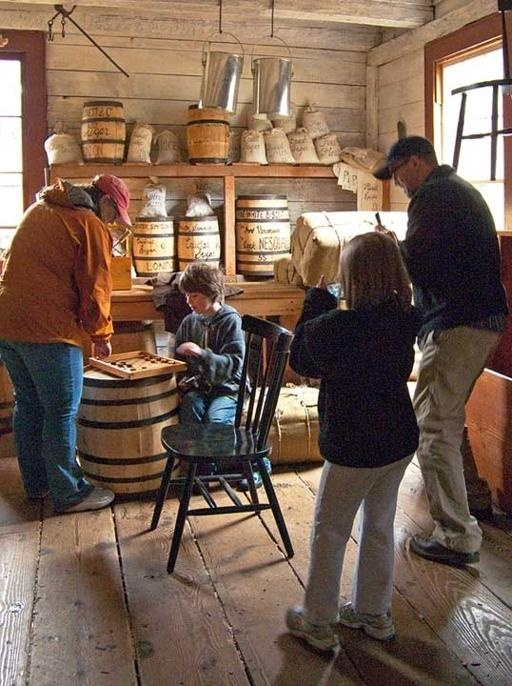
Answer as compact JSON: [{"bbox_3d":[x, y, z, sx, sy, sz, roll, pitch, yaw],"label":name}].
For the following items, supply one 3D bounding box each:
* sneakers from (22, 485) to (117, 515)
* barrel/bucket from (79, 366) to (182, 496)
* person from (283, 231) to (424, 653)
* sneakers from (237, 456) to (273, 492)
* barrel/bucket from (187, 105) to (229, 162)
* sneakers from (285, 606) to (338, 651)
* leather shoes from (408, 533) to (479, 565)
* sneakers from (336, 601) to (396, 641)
[{"bbox_3d":[-0.765,0.639,2.388,0.376,0.140,0.131,-1,1,-10],"label":"sneakers"},{"bbox_3d":[-0.522,0.346,2.489,0.489,0.473,0.491,0,7,0],"label":"barrel/bucket"},{"bbox_3d":[0.232,0.253,1.402,0.320,1.030,0.271,-1,6,1],"label":"person"},{"bbox_3d":[0.011,0.561,2.441,0.110,0.124,0.310,-2,-11,5],"label":"sneakers"},{"bbox_3d":[-0.315,-1.404,3.863,0.277,0.372,0.245,-2,6,-9],"label":"barrel/bucket"},{"bbox_3d":[0.136,0.715,1.476,0.066,0.074,0.173,1,8,-35],"label":"sneakers"},{"bbox_3d":[0.624,0.670,1.925,0.078,0.084,0.192,0,6,-42],"label":"leather shoes"},{"bbox_3d":[0.284,0.722,1.533,0.067,0.077,0.170,3,3,-42],"label":"sneakers"}]
